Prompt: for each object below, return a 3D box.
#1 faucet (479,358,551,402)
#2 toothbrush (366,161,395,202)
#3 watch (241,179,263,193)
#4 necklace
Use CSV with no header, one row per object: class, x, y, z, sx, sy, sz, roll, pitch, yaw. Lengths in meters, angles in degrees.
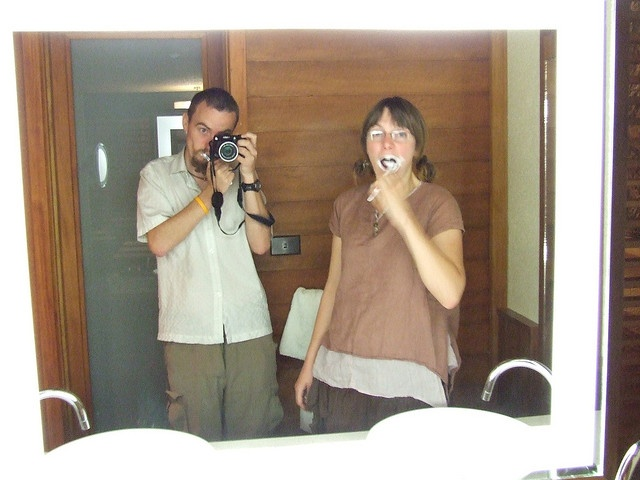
faucet,0.374,0.259,1.128,0.159,0.084,0.066,-7,6,-35
toothbrush,0.124,-0.110,1.196,0.040,0.094,0.022,32,4,32
watch,-0.160,-0.126,1.387,0.040,0.024,0.041,-3,3,1
necklace,0.156,-0.062,1.182,0.112,0.061,0.081,-37,7,-36
